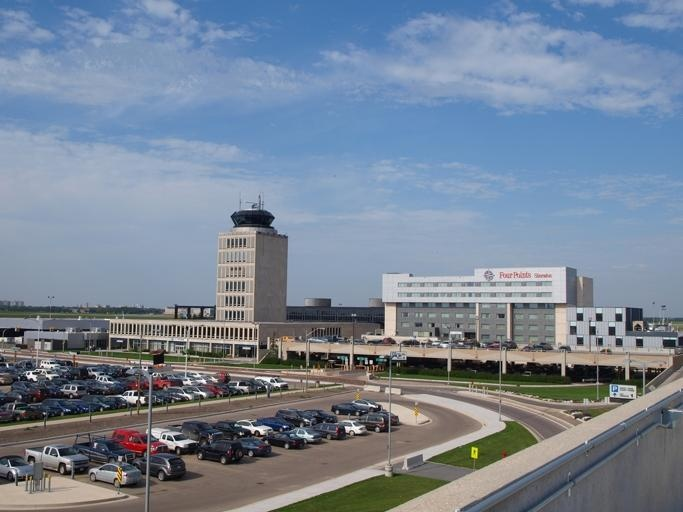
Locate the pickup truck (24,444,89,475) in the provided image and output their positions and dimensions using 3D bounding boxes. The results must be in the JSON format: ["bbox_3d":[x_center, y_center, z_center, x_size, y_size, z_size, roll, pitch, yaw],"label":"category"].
[{"bbox_3d":[-24.363,17.352,81.452,4.994,2.301,1.906,-2,-5,22],"label":"pickup truck"}]
